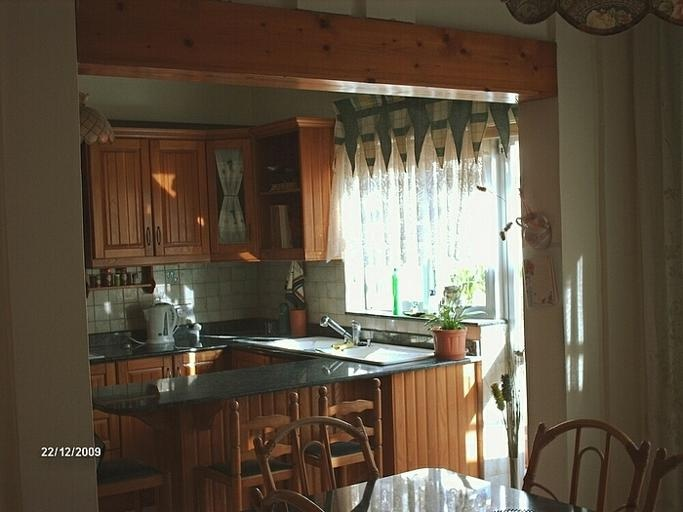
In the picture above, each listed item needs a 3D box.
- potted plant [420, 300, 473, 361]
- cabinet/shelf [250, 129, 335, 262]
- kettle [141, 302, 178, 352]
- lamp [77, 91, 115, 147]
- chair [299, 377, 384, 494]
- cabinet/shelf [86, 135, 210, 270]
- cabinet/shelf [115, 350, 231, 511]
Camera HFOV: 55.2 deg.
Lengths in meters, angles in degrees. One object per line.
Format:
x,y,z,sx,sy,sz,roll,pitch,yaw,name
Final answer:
0.708,0.491,4.368,0.366,0.411,0.315,-3,-8,26,potted plant
-0.366,-0.501,5.272,0.419,1.341,0.947,2,-5,-35,cabinet/shelf
-1.506,0.572,5.458,0.256,0.376,0.250,-2,1,-15,kettle
-1.191,-0.682,3.299,0.243,0.290,0.249,-4,-2,-26,lamp
-0.025,1.115,3.679,0.336,0.653,0.339,-11,-10,37,chair
-1.606,-0.439,5.306,1.002,1.111,0.400,-1,1,-14,cabinet/shelf
-0.877,0.941,3.821,0.768,0.809,0.790,1,-8,-26,cabinet/shelf
